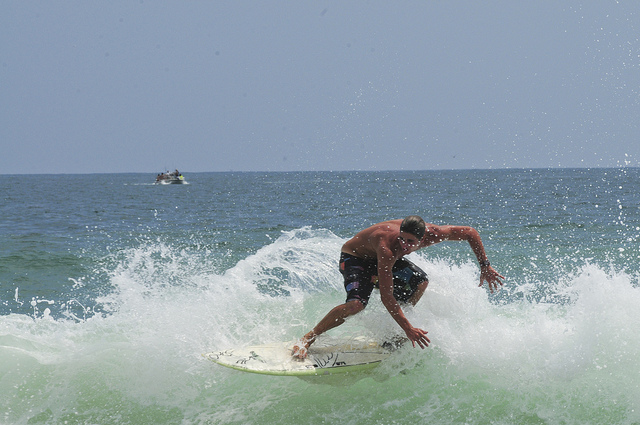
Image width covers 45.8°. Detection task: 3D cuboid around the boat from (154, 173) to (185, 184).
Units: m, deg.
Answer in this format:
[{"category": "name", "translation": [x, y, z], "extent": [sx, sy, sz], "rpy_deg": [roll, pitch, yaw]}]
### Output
[{"category": "boat", "translation": [-13.086, -2.921, 66.523], "extent": [2.246, 0.729, 1.369], "rpy_deg": [4, 15, 24]}]

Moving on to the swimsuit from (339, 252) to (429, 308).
[{"category": "swimsuit", "translation": [1.430, 1.589, 15.861], "extent": [1.701, 0.729, 1.886], "rpy_deg": [-2, 18, 4]}]
